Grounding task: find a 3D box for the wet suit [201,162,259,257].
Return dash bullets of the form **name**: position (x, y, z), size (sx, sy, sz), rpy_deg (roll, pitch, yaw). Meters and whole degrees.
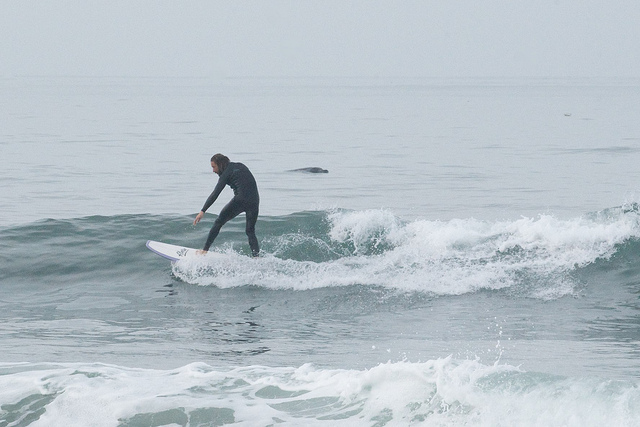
- **wet suit**: position (-2.208, -0.101, 26.997), size (1.302, 2.407, 0.606), rpy_deg (0, 14, -5)
